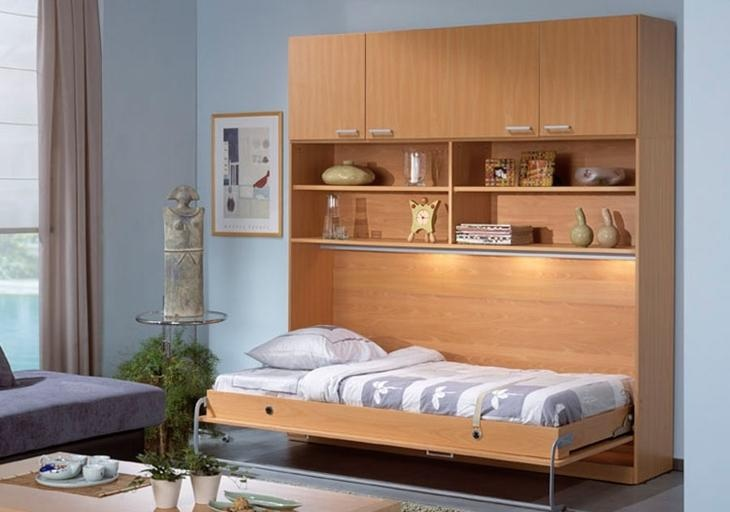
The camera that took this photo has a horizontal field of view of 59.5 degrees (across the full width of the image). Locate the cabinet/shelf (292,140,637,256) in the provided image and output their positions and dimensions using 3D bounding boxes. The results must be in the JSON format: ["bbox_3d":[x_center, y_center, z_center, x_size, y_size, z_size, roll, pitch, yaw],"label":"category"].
[{"bbox_3d":[0.628,-0.452,4.487,2.343,0.728,0.420,0,0,22],"label":"cabinet/shelf"}]

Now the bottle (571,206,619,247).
[{"bbox_3d":[1.495,-0.189,4.128,0.306,0.217,0.160,-3,-4,21],"label":"bottle"}]

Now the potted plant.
[{"bbox_3d":[-0.636,0.824,2.362,0.362,0.225,0.323,-1,0,-20],"label":"potted plant"}]

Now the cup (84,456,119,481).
[{"bbox_3d":[-1.075,0.853,2.577,0.081,0.042,0.116,1,0,-36],"label":"cup"}]

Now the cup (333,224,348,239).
[{"bbox_3d":[-0.168,-0.173,4.820,0.118,0.130,0.153,-2,-3,23],"label":"cup"}]

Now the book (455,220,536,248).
[{"bbox_3d":[0.861,-0.149,4.281,0.504,0.131,0.167,0,0,5],"label":"book"}]

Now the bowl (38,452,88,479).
[{"bbox_3d":[-1.203,0.848,2.579,0.163,0.056,0.136,0,-6,8],"label":"bowl"}]
